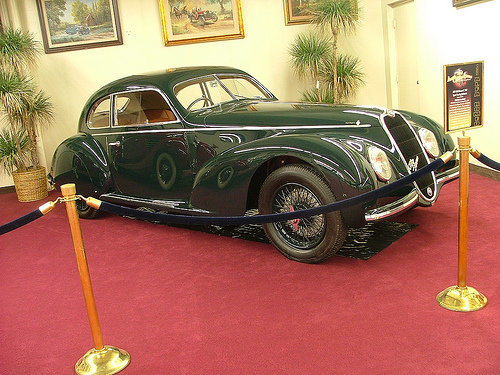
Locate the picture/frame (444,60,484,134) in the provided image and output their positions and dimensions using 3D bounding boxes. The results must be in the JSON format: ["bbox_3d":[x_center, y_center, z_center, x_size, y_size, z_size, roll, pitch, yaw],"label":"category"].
[{"bbox_3d":[1.358,-0.582,2.124,0.460,0.580,0.042,-10,12,-25],"label":"picture/frame"}]
